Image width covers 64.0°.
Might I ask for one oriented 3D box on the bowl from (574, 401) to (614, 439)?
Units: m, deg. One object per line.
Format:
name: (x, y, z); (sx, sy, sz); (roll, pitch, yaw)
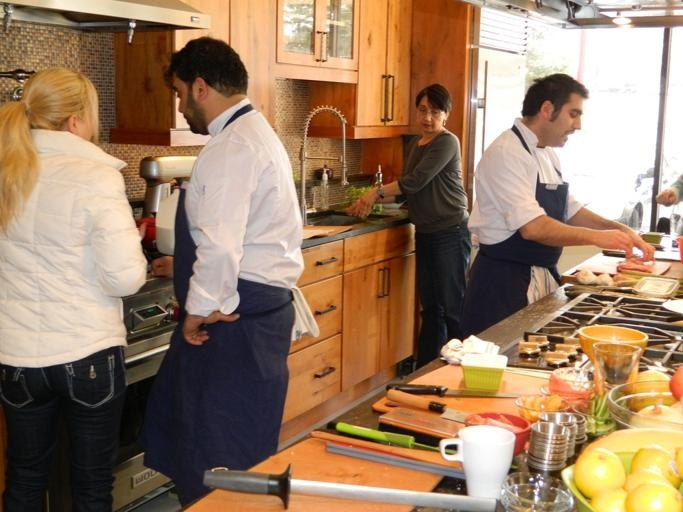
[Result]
bowl: (0.575, 0.370, 1.232); (0.084, 0.064, 0.095); (-2, 14, -4)

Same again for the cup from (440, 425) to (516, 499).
cup: (0.257, 0.361, 1.031); (0.148, 0.108, 0.113); (1, 7, 6)

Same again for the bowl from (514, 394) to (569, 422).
bowl: (0.440, 0.321, 1.212); (0.065, 0.035, 0.066); (-1, 8, 0)

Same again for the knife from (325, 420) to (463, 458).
knife: (0.112, 0.377, 1.120); (0.239, 0.034, 0.034); (9, 35, 17)

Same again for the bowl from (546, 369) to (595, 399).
bowl: (0.538, 0.299, 1.284); (0.092, 0.047, 0.087); (3, 10, 0)

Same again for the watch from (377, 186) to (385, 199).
watch: (0.286, -0.469, 4.005); (0.060, 0.075, 0.107); (-2, 45, -5)

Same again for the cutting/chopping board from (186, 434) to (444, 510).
cutting/chopping board: (-0.034, 0.418, 1.045); (0.437, 0.062, 0.278); (5, 10, 12)

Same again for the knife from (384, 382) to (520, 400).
knife: (0.278, 0.340, 1.377); (0.203, 0.018, 0.034); (1, 9, 7)

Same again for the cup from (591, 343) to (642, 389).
cup: (0.627, 0.251, 1.256); (0.105, 0.103, 0.097); (0, 7, 0)

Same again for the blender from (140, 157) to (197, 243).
blender: (-0.882, -0.321, 2.910); (0.151, 0.418, 0.447); (8, 15, 20)

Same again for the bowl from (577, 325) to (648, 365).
bowl: (0.729, 0.257, 1.481); (0.180, 0.094, 0.175); (0, -1, 0)

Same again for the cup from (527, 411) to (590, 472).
cup: (0.426, 0.372, 1.096); (0.060, 0.061, 0.174); (3, 5, 26)

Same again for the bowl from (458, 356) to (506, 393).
bowl: (0.360, 0.299, 1.402); (0.110, 0.065, 0.075); (2, 8, 13)

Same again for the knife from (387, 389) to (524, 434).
knife: (0.232, 0.339, 1.244); (0.335, 0.086, 0.047); (7, 46, 26)
